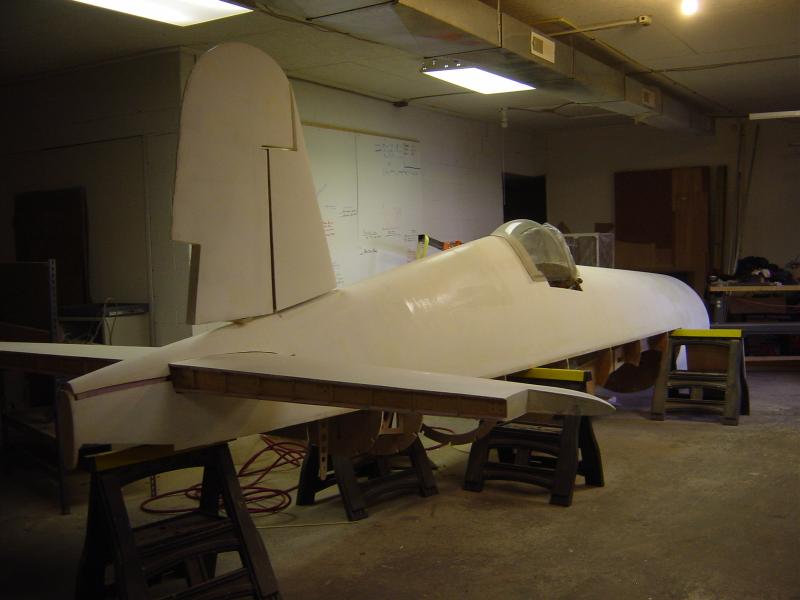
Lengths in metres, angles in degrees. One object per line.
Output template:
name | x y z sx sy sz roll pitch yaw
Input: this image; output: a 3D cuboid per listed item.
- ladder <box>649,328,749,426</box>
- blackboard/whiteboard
ladder | 2.812 0.775 6.315 0.724 0.981 1.026 -2 -10 25
blackboard/whiteboard | -0.381 -0.932 6.420 0.056 1.278 1.634 1 15 40
